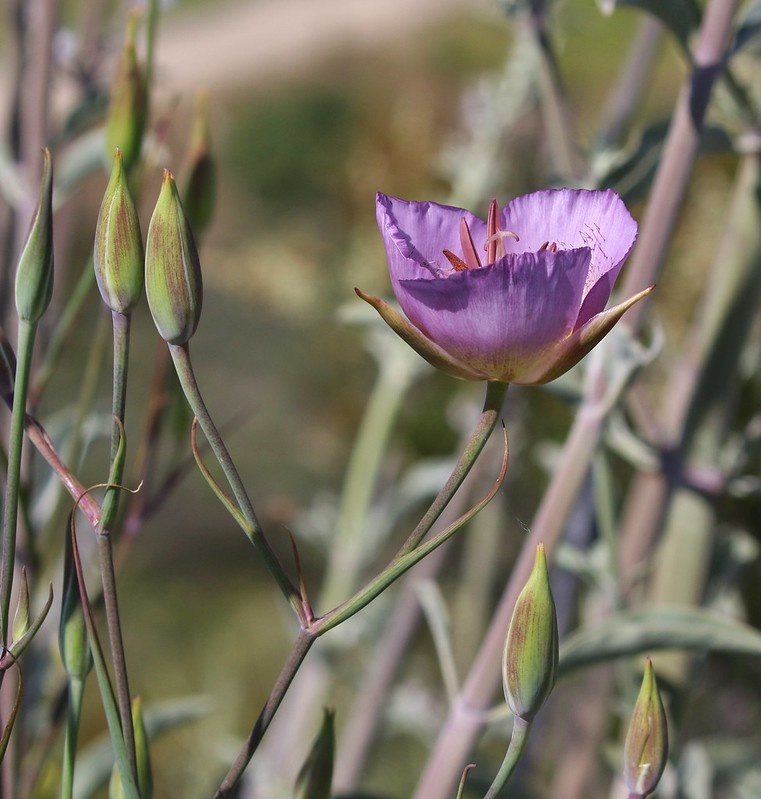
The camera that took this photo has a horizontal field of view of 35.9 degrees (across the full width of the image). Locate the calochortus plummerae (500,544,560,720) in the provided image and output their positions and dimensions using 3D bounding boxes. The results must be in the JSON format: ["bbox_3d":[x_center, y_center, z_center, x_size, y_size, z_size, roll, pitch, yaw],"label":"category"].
[{"bbox_3d":[0.045,0.070,0.349,0.012,0.056,0.018,-9,9,-42],"label":"calochortus plummerae"}]

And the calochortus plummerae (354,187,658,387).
[{"bbox_3d":[0.034,-0.030,0.377,0.069,0.055,0.088,-6,-12,-6],"label":"calochortus plummerae"}]

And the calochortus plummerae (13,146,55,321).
[{"bbox_3d":[-0.098,-0.045,0.340,0.017,0.047,0.010,1,8,35],"label":"calochortus plummerae"}]

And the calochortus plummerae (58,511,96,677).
[{"bbox_3d":[-0.101,0.068,0.384,0.009,0.052,0.021,-7,8,-33],"label":"calochortus plummerae"}]

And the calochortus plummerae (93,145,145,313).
[{"bbox_3d":[-0.078,-0.047,0.340,0.018,0.046,0.012,-1,7,20],"label":"calochortus plummerae"}]

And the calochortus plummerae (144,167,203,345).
[{"bbox_3d":[-0.060,-0.040,0.337,0.015,0.049,0.008,-5,7,-15],"label":"calochortus plummerae"}]
